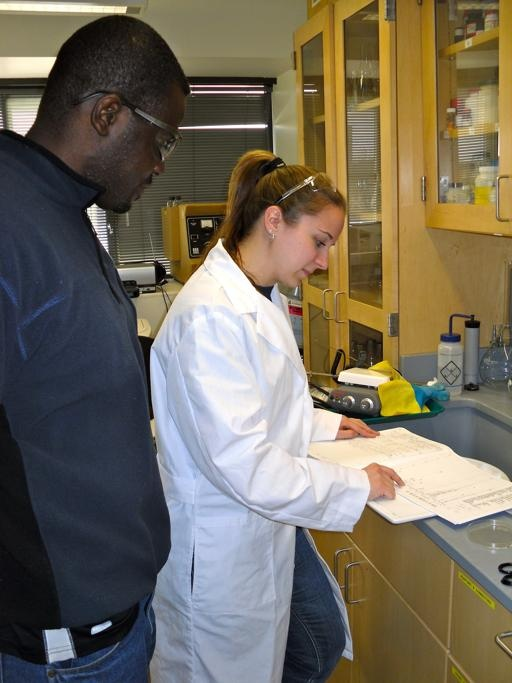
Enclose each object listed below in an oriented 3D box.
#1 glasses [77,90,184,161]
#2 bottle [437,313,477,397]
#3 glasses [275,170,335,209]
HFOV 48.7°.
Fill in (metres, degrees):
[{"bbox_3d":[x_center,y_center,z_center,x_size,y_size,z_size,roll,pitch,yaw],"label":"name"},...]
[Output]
[{"bbox_3d":[-0.149,-0.293,0.752,0.064,0.021,0.066,39,-1,15],"label":"glasses"},{"bbox_3d":[0.728,0.030,2.078,0.119,0.277,0.299,3,10,19],"label":"bottle"},{"bbox_3d":[0.113,-0.361,1.323,0.083,0.028,0.088,-32,4,15],"label":"glasses"}]
